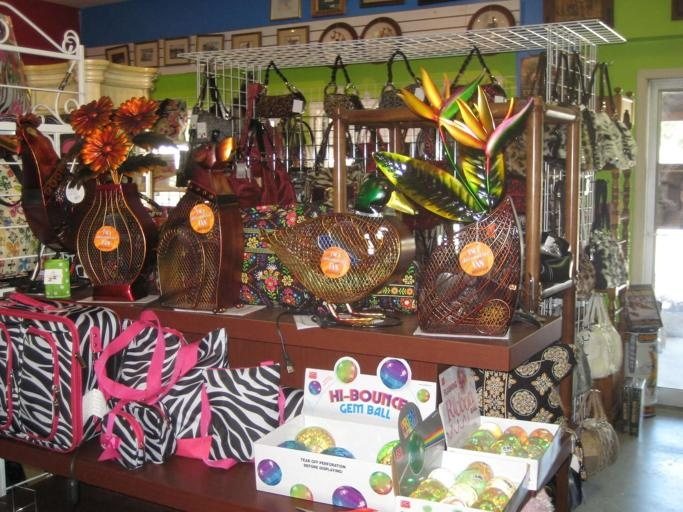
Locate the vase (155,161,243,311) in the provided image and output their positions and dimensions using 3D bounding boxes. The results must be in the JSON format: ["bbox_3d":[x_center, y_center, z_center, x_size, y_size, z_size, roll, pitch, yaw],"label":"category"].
[{"bbox_3d":[-0.529,-0.069,2.079,0.336,0.516,0.124,3,6,14],"label":"vase"}]

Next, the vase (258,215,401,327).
[{"bbox_3d":[0.000,0.013,1.918,0.481,0.340,0.252,2,5,21],"label":"vase"}]

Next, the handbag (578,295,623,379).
[{"bbox_3d":[1.727,0.546,3.828,0.223,0.549,0.516,5,7,33],"label":"handbag"}]

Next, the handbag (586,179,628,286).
[{"bbox_3d":[1.975,-0.163,4.210,0.250,0.811,0.702,5,7,29],"label":"handbag"}]

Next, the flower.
[{"bbox_3d":[-0.867,-0.447,2.179,0.434,0.328,0.165,3,6,16],"label":"flower"}]

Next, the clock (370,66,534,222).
[{"bbox_3d":[0.330,-0.330,1.721,0.451,0.457,0.184,3,6,13],"label":"clock"}]

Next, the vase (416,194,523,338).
[{"bbox_3d":[0.359,0.041,1.564,0.298,0.403,0.122,20,14,20],"label":"vase"}]
